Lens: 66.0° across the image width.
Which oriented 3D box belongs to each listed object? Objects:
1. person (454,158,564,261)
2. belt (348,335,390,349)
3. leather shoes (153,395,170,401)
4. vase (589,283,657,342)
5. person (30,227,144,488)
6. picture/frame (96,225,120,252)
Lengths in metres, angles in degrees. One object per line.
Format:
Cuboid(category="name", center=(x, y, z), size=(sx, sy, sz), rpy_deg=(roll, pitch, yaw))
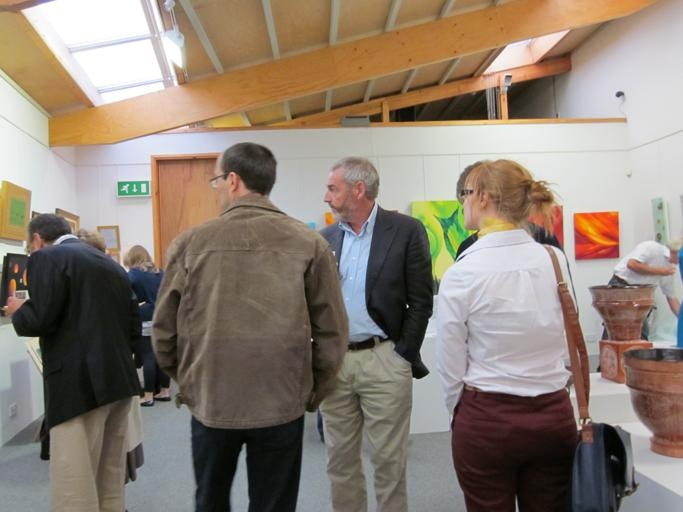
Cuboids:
Cuboid(category="person", center=(1.405, -0.273, 3.634), size=(0.778, 0.421, 1.374), rpy_deg=(-14, -1, 28))
Cuboid(category="belt", center=(0.159, 0.510, 3.056), size=(0.230, 0.083, 0.030), rpy_deg=(0, -1, 0))
Cuboid(category="leather shoes", center=(-2.111, 1.684, 6.157), size=(0.176, 0.071, 0.068), rpy_deg=(4, -4, 4))
Cuboid(category="vase", center=(2.146, 0.449, 4.031), size=(0.439, 0.393, 0.431), rpy_deg=(0, -13, -1))
Cuboid(category="person", center=(-1.680, 0.684, 3.585), size=(0.633, 1.847, 0.592), rpy_deg=(-3, 19, -28))
Cuboid(category="picture/frame", center=(-2.785, -0.203, 6.271), size=(0.326, 0.480, 0.045), rpy_deg=(-4, -11, -12))
